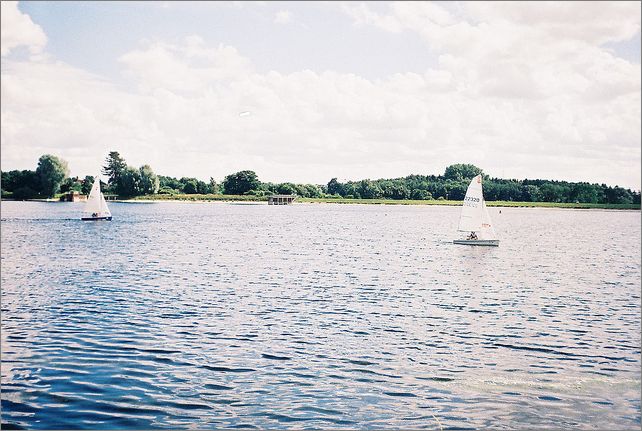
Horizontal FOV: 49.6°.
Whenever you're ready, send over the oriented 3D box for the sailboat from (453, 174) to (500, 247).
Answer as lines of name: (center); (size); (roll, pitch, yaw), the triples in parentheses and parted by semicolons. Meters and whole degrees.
sailboat: (23.945, 0.691, 104.568); (9.762, 12.254, 5.091); (0, -8, 8)
